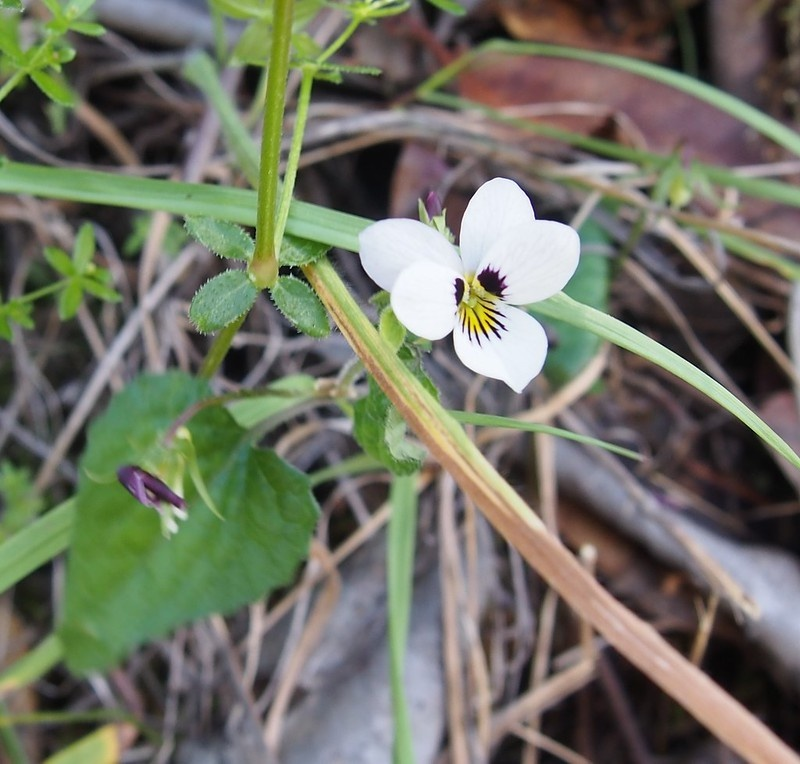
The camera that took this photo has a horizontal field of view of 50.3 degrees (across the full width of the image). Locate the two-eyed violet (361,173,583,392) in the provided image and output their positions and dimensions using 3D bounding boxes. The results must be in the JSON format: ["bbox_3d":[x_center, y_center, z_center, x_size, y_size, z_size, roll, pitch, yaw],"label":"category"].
[{"bbox_3d":[0.092,-0.102,0.983,0.246,0.133,0.217,-20,61,-11],"label":"two-eyed violet"}]
